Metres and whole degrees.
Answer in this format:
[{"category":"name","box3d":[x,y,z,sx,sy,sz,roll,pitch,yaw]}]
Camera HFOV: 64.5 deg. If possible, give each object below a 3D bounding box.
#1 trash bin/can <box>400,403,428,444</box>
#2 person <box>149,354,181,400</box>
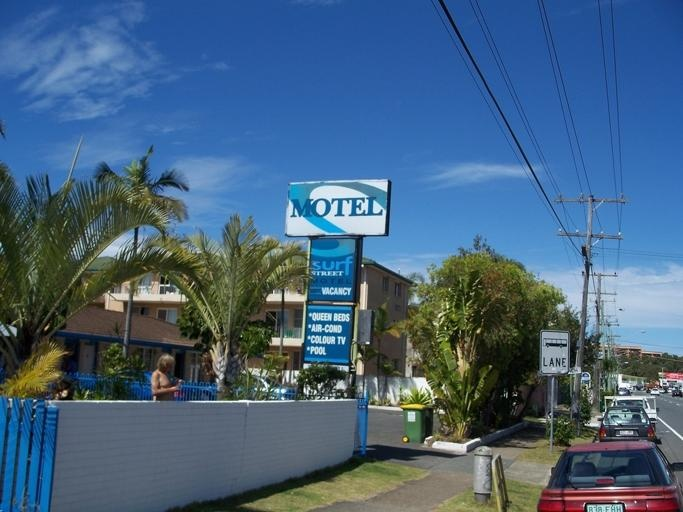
[{"category":"trash bin/can","box3d":[2.775,6.375,21.017,1.077,1.810,1.193,-4,-7,20]},{"category":"person","box3d":[-3.615,2.486,11.186,0.507,0.935,1.372,5,-12,-17]}]
